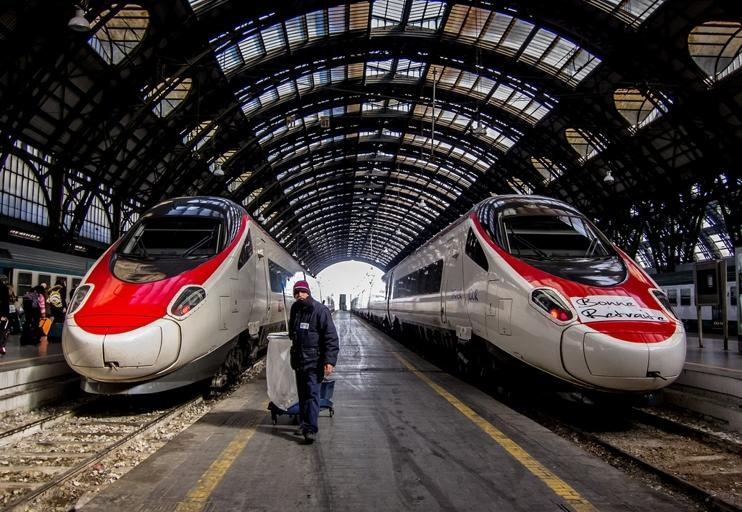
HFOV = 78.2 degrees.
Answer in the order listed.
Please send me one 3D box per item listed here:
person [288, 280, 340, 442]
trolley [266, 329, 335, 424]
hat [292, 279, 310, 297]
[{"bbox_3d":[-0.893,1.486,6.936,0.845,2.156,0.900,4,4,-2],"label":"person"},{"bbox_3d":[-1.158,1.970,7.666,1.285,1.443,1.129,10,4,-4],"label":"trolley"},{"bbox_3d":[-1.040,0.474,6.850,0.206,0.209,0.269,-2,-13,-4],"label":"hat"}]
